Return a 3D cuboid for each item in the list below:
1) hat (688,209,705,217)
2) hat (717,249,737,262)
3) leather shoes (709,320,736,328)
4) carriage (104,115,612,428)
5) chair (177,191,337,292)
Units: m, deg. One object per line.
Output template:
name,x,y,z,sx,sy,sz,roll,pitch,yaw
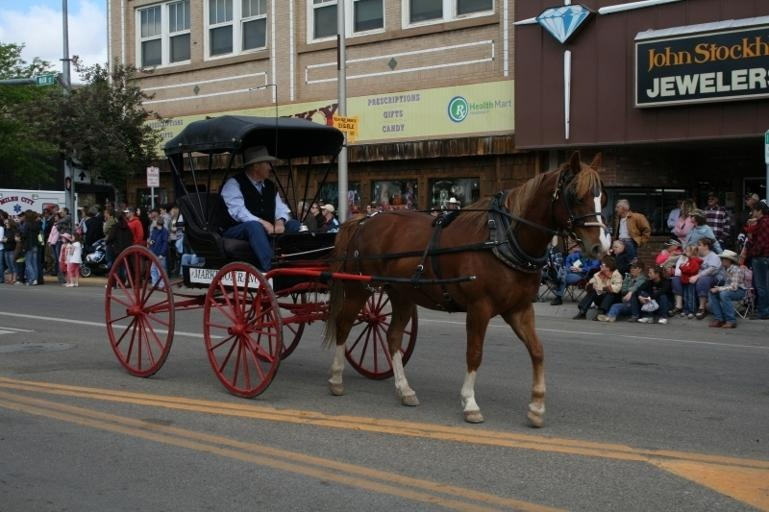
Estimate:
hat,7.133,-0.971,19.602,0.401,0.141,0.382,1,4,32
hat,7.201,-0.038,17.951,0.289,0.099,0.257,21,-12,-11
leather shoes,6.839,1.377,17.508,0.491,0.204,0.168,-2,-1,36
carriage,-0.902,-0.045,13.630,8.277,4.130,4.012,0,0,38
chair,-2.082,-0.252,13.345,2.298,1.385,1.396,8,12,34
